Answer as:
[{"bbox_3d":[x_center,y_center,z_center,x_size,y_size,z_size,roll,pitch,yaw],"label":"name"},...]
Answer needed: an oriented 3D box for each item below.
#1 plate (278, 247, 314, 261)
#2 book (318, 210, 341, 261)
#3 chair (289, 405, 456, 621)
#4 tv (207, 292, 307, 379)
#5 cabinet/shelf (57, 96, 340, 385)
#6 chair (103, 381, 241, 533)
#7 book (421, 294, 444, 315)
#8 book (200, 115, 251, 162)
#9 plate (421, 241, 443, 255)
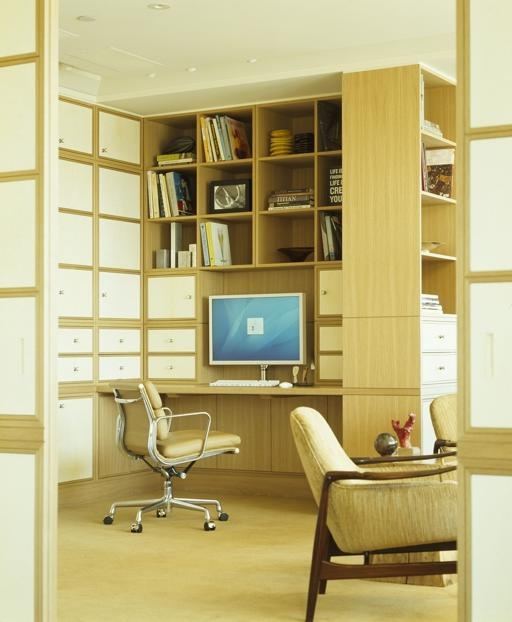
[{"bbox_3d":[0.344,-0.490,4.902,0.186,0.062,0.184,-3,-2,22],"label":"plate"},{"bbox_3d":[0.616,-0.613,4.696,0.195,0.443,0.157,1,-9,-7],"label":"book"},{"bbox_3d":[0.445,0.828,2.589,0.888,0.848,0.737,-2,-6,8],"label":"chair"},{"bbox_3d":[0.022,0.196,4.993,0.809,0.675,0.259,-1,-5,18],"label":"tv"},{"bbox_3d":[-0.495,-0.591,4.941,2.606,2.313,1.322,1,0,15],"label":"cabinet/shelf"},{"bbox_3d":[-0.699,0.937,4.420,1.141,1.327,1.170,1,-3,-23],"label":"chair"},{"bbox_3d":[1.285,-0.045,4.224,0.186,0.170,0.067,5,-7,-40],"label":"book"},{"bbox_3d":[-0.296,-1.528,5.076,0.265,0.437,0.468,-2,3,40],"label":"book"},{"bbox_3d":[1.337,-0.488,4.365,0.163,0.080,0.214,2,7,4],"label":"plate"}]
